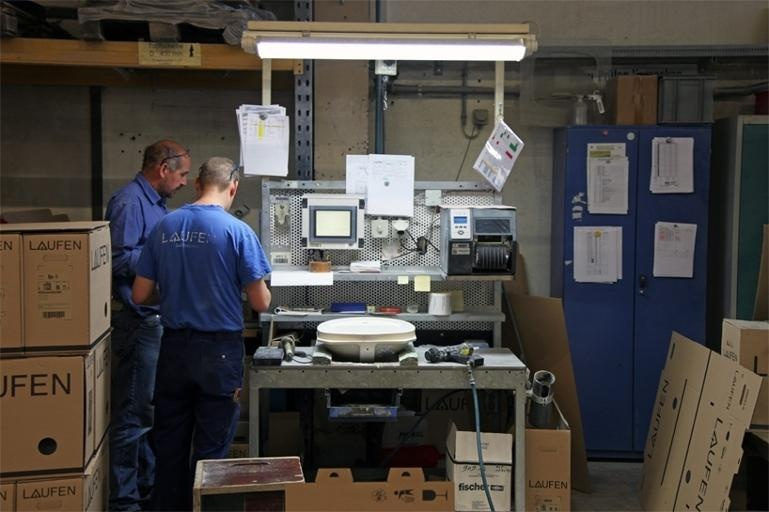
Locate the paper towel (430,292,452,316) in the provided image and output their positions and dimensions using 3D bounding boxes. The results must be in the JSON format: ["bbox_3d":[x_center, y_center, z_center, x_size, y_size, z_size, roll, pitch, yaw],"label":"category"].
[{"bbox_3d":[0.393,0.331,7.516,0.145,0.135,0.151,0,-2,-1],"label":"paper towel"}]

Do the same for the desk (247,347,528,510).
[{"bbox_3d":[0.108,1.358,7.444,1.858,1.272,1.005,0,-7,-1],"label":"desk"}]

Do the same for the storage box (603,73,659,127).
[{"bbox_3d":[1.880,-1.183,8.079,0.349,0.375,0.371,0,1,7],"label":"storage box"}]

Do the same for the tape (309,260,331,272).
[{"bbox_3d":[-0.463,0.062,7.497,0.138,0.075,0.051,-2,5,-10],"label":"tape"}]

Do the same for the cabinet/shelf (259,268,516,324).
[{"bbox_3d":[-0.016,0.292,7.546,1.715,0.424,0.324,-1,5,0],"label":"cabinet/shelf"}]
